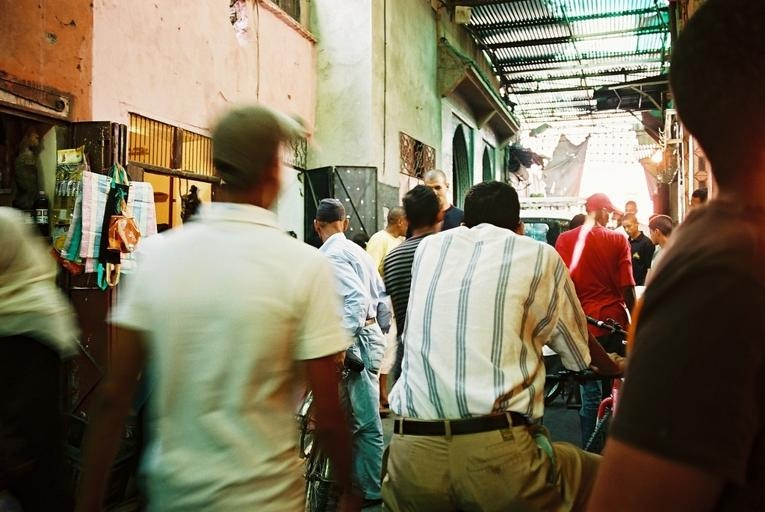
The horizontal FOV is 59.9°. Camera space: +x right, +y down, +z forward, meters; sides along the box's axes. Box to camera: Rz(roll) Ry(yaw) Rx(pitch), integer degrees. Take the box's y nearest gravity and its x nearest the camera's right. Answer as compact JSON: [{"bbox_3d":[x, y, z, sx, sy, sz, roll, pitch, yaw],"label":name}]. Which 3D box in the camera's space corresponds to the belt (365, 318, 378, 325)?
[{"bbox_3d":[-0.086,0.503,5.148,0.046,0.052,0.226,3,3,13],"label":"belt"}]

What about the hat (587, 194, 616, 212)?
[{"bbox_3d":[2.086,-0.514,6.312,0.227,0.138,0.162,2,7,-6],"label":"hat"}]

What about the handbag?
[{"bbox_3d":[-2.534,-0.330,5.991,0.357,1.102,1.013,2,2,26],"label":"handbag"}]

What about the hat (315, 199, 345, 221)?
[{"bbox_3d":[-0.425,-0.367,5.327,0.245,0.180,0.264,1,4,-32],"label":"hat"}]

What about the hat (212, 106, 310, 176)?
[{"bbox_3d":[-0.450,-0.533,2.477,0.316,0.210,0.251,-21,47,-16],"label":"hat"}]

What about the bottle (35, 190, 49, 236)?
[{"bbox_3d":[-3.202,-0.405,6.220,0.144,0.417,0.231,1,3,-30],"label":"bottle"}]
